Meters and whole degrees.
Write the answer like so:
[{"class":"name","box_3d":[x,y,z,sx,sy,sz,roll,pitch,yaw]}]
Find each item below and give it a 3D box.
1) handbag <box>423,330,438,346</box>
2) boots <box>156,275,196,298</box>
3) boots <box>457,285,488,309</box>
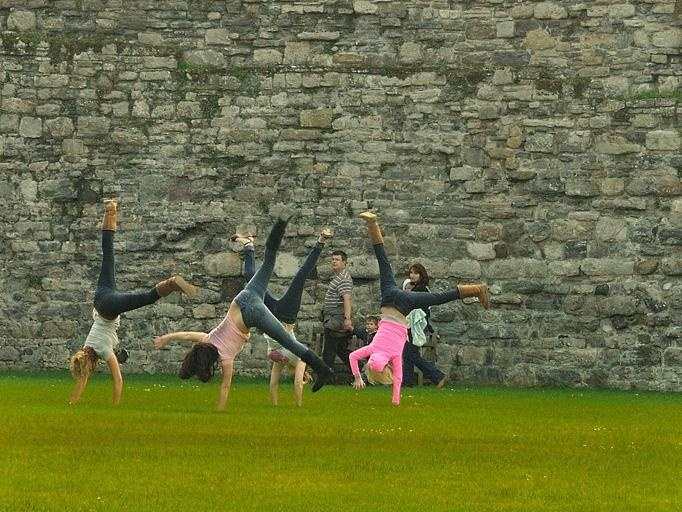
[{"class":"handbag","box_3d":[1.257,1.122,18.424,0.199,0.247,0.071,0,3,7]},{"class":"boots","box_3d":[-2.011,0.346,15.896,0.350,0.145,0.355,-24,-11,42]},{"class":"boots","box_3d":[1.664,0.465,16.290,0.307,0.293,0.565,1,-1,16]}]
